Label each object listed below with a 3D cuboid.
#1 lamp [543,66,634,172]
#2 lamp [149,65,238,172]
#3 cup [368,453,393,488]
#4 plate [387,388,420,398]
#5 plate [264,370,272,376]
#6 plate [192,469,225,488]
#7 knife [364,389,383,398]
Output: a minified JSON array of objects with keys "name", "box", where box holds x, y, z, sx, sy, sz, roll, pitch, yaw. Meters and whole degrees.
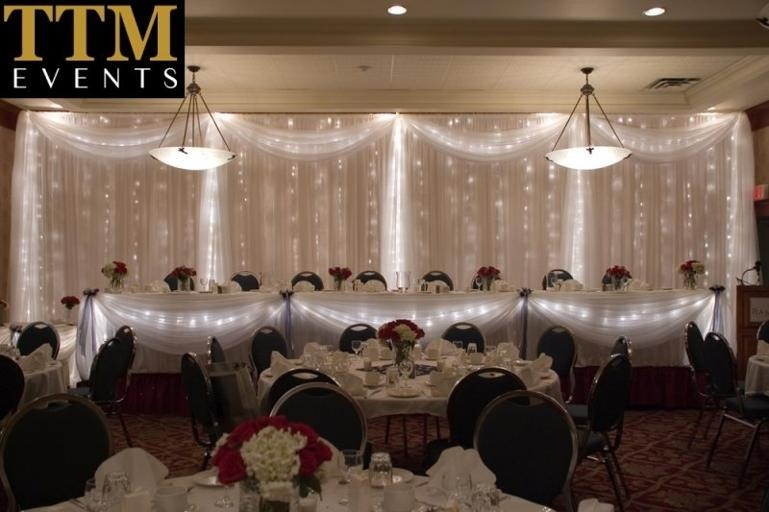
[{"name":"lamp","box":[2.875,-2.039,8.428,1.020,1.322,1.090,2,9,26]},{"name":"lamp","box":[-2.753,-2.082,8.513,0.999,1.291,0.999,1,11,-3]},{"name":"cup","box":[-0.020,1.358,3.771,0.178,0.209,0.175,-1,-3,0]},{"name":"plate","box":[0.167,1.180,5.122,0.287,0.049,0.173,0,5,0]},{"name":"plate","box":[-1.110,1.116,5.621,0.062,0.016,0.065,1,2,15]},{"name":"plate","box":[-1.139,1.446,3.803,0.170,0.032,0.177,4,0,-4]},{"name":"knife","box":[-0.090,1.197,5.146,0.145,0.013,0.242,0,5,2]}]
